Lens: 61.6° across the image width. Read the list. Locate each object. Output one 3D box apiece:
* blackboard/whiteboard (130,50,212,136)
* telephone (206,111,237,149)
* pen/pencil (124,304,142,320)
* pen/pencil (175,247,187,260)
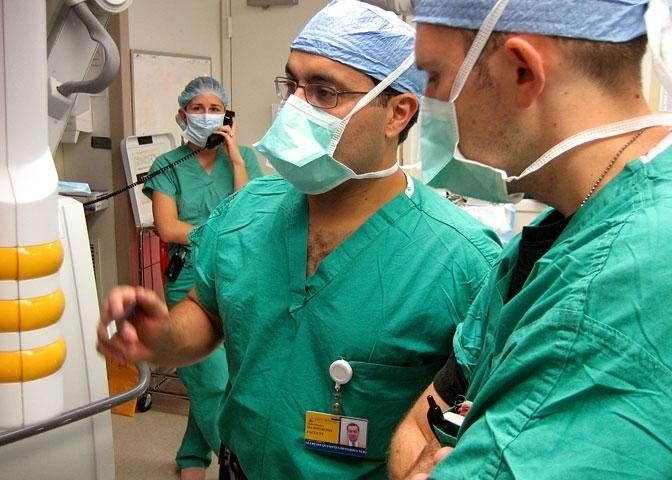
[{"bbox_3d":[-1.076,-0.940,3.641,0.083,0.544,0.580,8,19,25],"label":"blackboard/whiteboard"},{"bbox_3d":[-0.614,-0.610,3.098,0.067,0.091,0.384,14,49,3],"label":"telephone"},{"bbox_3d":[-0.454,0.159,1.257,0.023,0.010,0.067,-34,-13,-22],"label":"pen/pencil"},{"bbox_3d":[-0.776,0.066,2.822,0.026,0.047,0.011,16,-11,34],"label":"pen/pencil"}]
